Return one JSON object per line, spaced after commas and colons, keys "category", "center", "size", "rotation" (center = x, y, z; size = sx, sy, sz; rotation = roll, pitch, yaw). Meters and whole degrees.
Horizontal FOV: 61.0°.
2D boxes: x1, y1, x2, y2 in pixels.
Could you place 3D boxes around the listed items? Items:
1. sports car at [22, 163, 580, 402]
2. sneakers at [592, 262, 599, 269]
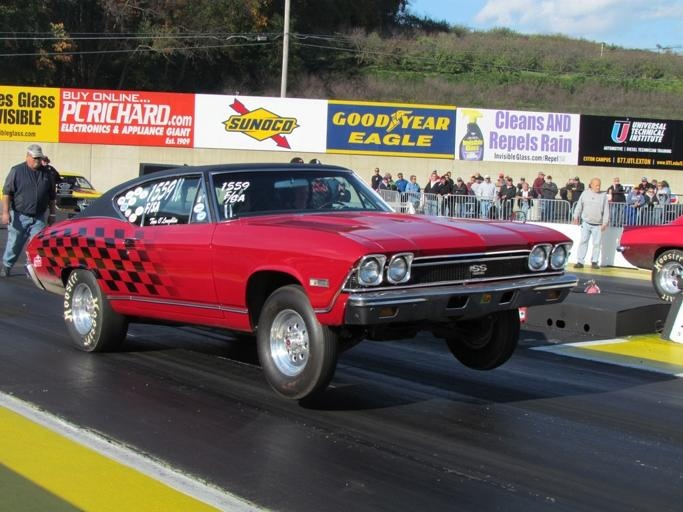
{"category": "sports car", "center": [-0.491, 0.138, 5.504], "size": [4.840, 2.035, 1.865], "rotation": [5, 5, 34]}
{"category": "sneakers", "center": [7.055, 0.269, 16.149], "size": [0.134, 0.156, 0.229], "rotation": [-2, -3, -19]}
